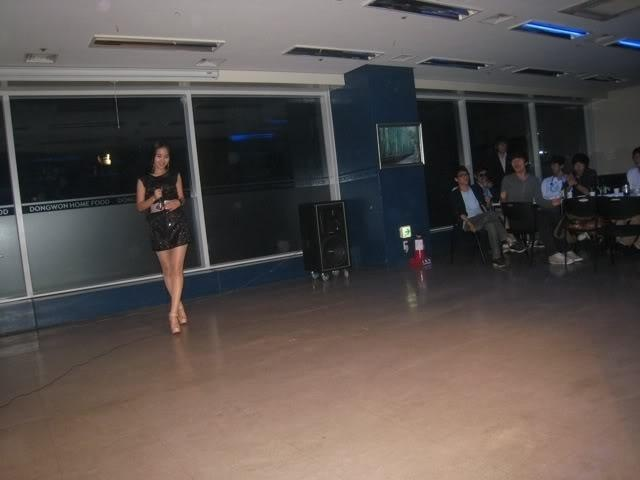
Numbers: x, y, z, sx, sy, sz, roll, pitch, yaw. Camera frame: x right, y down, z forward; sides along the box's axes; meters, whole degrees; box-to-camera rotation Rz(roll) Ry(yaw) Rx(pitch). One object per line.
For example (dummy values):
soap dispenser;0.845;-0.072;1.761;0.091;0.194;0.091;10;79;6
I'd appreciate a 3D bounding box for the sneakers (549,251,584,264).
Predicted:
sneakers;3.962;0.306;6.826;0.361;0.137;0.265;-2;7;35

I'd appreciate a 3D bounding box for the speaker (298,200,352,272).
speaker;0.093;-0.038;7.780;0.810;1.186;0.801;-6;2;-9

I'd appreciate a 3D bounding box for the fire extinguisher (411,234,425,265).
fire extinguisher;1.897;0.189;8.076;0.256;0.487;0.637;-4;8;13

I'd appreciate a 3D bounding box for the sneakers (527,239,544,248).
sneakers;4.207;0.068;8.246;0.252;0.135;0.170;-2;11;-11

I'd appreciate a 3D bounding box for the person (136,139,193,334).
person;-1.924;-0.007;5.373;0.569;2.341;0.426;-11;9;-35

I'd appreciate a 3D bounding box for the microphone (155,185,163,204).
microphone;-1.988;-0.537;5.207;0.123;0.176;0.147;-8;8;-20
